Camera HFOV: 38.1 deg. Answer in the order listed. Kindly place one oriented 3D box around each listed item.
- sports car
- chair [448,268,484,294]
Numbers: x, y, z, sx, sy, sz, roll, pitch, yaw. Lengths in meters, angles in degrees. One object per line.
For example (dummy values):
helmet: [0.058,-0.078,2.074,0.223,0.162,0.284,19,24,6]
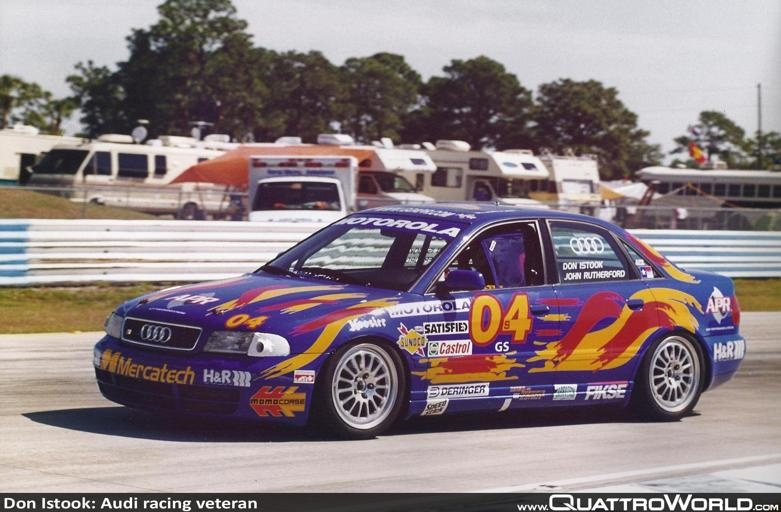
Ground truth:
sports car: [0.399,0.638,11.631,6.359,2.205,1.399,-1,12,-20]
chair: [0.754,0.247,11.219,0.414,0.231,0.212,1,11,-10]
